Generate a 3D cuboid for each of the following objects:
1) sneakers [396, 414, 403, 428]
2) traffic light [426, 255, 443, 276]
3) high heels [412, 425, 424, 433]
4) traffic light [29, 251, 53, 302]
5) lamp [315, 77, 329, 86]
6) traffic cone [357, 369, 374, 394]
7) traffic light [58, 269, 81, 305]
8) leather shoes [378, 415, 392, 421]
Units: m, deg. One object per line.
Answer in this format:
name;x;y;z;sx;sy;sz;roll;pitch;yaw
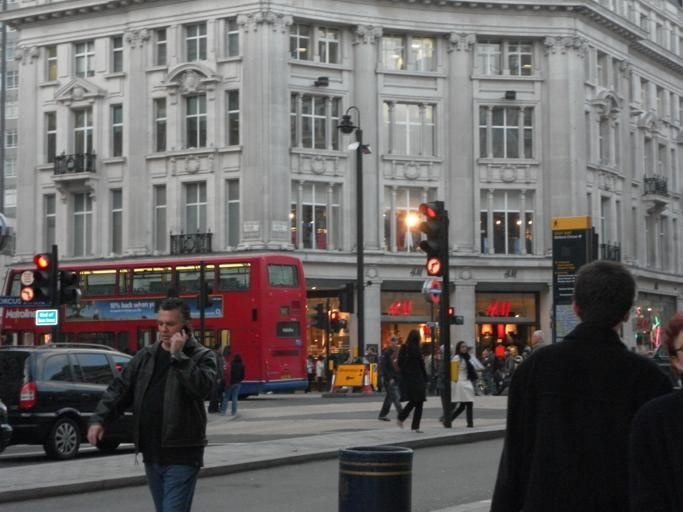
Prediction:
sneakers;1.428;3.937;30.388;0.104;0.295;0.219;7;-39;10
traffic light;2.195;0.245;29.703;0.352;0.415;0.328;-1;-5;3
high heels;1.829;4.098;30.043;0.318;0.096;0.131;6;-1;-39
traffic light;-6.559;0.515;28.634;0.460;1.131;0.393;0;-5;-13
lamp;-0.720;-7.389;54.478;0.366;0.327;0.479;2;-6;-24
traffic cone;1.089;4.434;45.172;0.724;0.932;0.673;-1;-1;-26
traffic light;-6.099;0.709;29.214;0.430;0.798;0.857;0;-5;-12
leather shoes;1.184;4.249;33.339;0.390;0.157;0.127;1;0;-4
